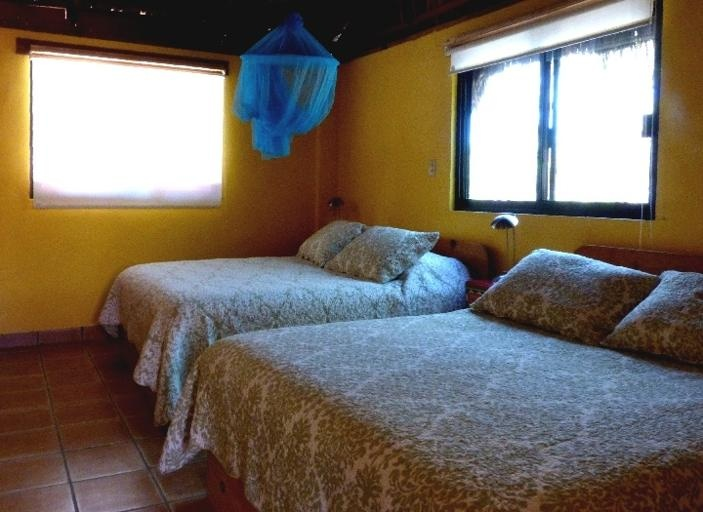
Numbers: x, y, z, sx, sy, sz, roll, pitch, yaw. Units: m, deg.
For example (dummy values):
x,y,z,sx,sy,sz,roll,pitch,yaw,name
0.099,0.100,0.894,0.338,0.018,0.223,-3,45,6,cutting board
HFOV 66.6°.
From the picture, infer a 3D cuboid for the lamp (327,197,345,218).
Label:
x,y,z,sx,sy,sz,roll,pitch,yaw,name
-0.161,-0.519,5.737,0.178,0.242,0.295,0,13,-2,lamp
